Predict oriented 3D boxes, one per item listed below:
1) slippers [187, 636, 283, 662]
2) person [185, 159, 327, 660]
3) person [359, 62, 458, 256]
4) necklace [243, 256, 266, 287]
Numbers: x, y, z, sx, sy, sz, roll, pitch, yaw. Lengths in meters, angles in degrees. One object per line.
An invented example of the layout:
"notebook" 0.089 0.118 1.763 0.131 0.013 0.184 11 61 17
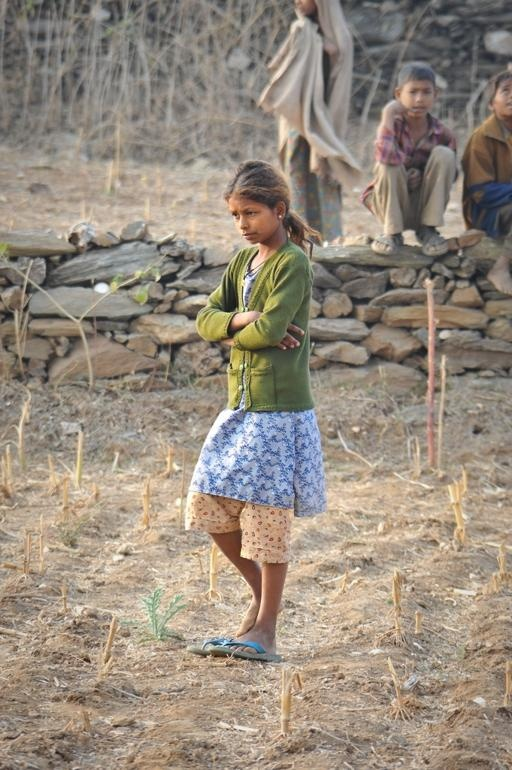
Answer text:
"slippers" -0.085 1.105 5.080 0.316 0.066 0.132 8 -13 -3
"person" 0.011 0.108 5.194 0.609 2.090 0.419 4 4 11
"person" 0.974 -1.402 7.751 0.519 1.134 0.557 1 5 -30
"necklace" -0.018 -0.474 5.215 0.061 0.110 0.086 40 -14 -35
